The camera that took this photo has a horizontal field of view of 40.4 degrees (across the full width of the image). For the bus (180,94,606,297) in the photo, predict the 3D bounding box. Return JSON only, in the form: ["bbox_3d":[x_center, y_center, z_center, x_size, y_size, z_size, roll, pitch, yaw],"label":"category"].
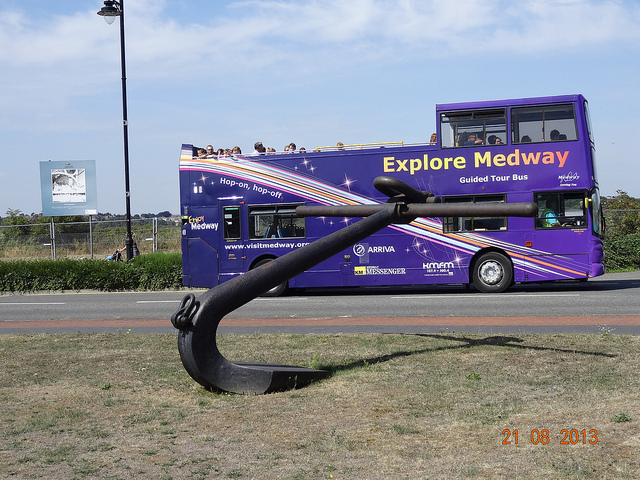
[{"bbox_3d":[2.044,-1.213,25.503,11.896,4.847,3.263,-2,7,21],"label":"bus"}]

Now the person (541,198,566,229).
[{"bbox_3d":[6.269,-0.776,23.360,0.381,0.996,0.669,-26,26,-37],"label":"person"}]
